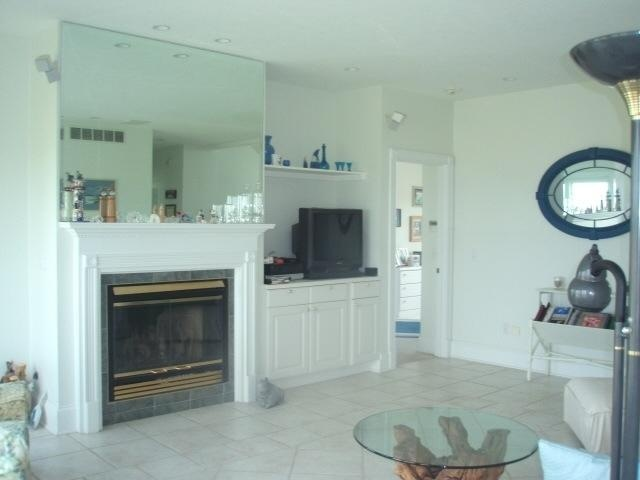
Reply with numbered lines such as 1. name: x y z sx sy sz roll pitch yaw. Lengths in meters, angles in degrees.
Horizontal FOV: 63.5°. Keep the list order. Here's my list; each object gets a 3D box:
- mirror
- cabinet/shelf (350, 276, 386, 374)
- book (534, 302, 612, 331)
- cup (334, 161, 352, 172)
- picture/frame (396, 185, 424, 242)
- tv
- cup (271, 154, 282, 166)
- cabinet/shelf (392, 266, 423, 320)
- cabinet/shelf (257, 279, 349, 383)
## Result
1. mirror: 2.858 -0.470 5.500 1.036 1.017 0.142 9 6 40
2. cabinet/shelf: 0.540 1.008 5.977 0.466 1.112 0.125 -2 4 -41
3. book: 2.733 0.826 5.559 0.769 0.175 0.407 2 3 41
4. cup: 0.286 -0.872 6.163 0.205 0.120 0.189 0 3 0
5. picture/frame: 1.731 -0.532 9.968 0.695 1.195 0.150 -2 4 -43
6. tv: 0.098 0.032 6.220 0.978 0.928 0.739 -3 2 -36
7. cup: -0.457 -0.858 5.586 0.084 0.130 0.142 2 3 40
8. cabinet/shelf: 1.583 0.959 9.177 0.728 0.908 0.245 -2 4 -41
9. cabinet/shelf: -0.216 0.965 5.464 1.189 1.059 0.452 -1 -1 -37
